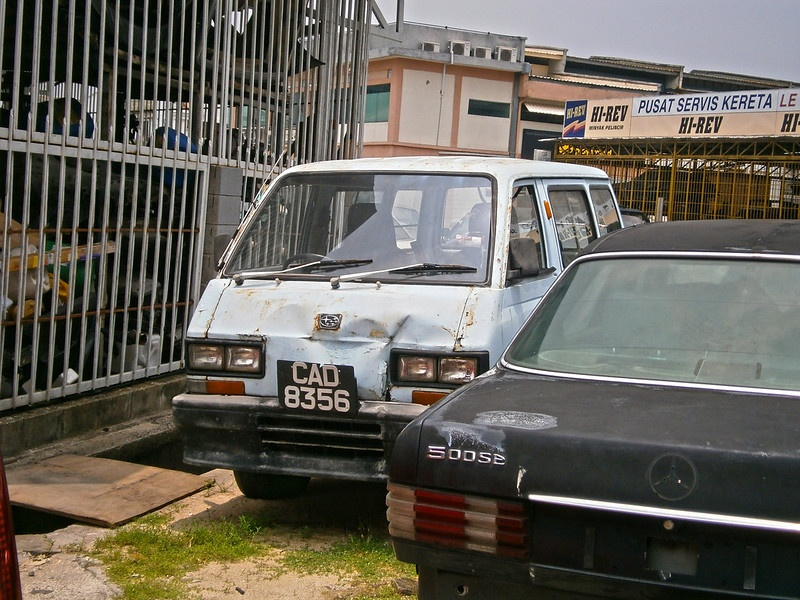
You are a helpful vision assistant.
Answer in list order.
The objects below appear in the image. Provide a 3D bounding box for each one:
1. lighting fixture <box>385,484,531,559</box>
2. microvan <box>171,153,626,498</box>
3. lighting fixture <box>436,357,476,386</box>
[{"bbox_3d":[0.194,0.773,2.600,0.323,0.114,0.230,6,-3,15],"label":"lighting fixture"},{"bbox_3d":[0.463,-0.027,6.053,2.705,2.110,4.084,2,9,29],"label":"microvan"},{"bbox_3d":[0.304,0.369,4.100,0.245,0.168,0.135,-1,2,21],"label":"lighting fixture"}]
